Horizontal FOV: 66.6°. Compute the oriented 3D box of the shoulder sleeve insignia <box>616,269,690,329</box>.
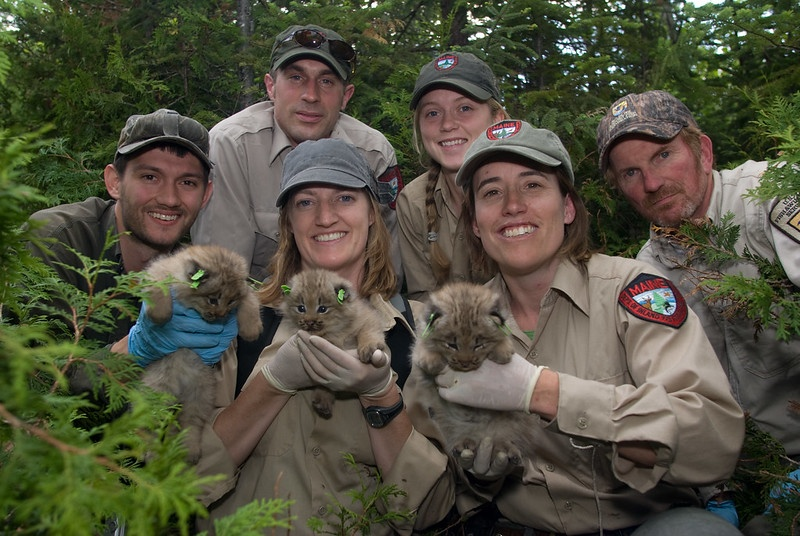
[{"bbox_3d":[2.361,0.309,5.737,0.498,0.512,0.474,-1,28,-7],"label":"shoulder sleeve insignia"}]

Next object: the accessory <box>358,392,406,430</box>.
[{"bbox_3d":[-0.185,1.351,5.733,0.253,0.138,0.288,-7,16,22],"label":"accessory"}]

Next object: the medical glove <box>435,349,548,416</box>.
[{"bbox_3d":[0.850,1.075,5.694,0.881,0.469,0.350,4,15,14],"label":"medical glove"}]
